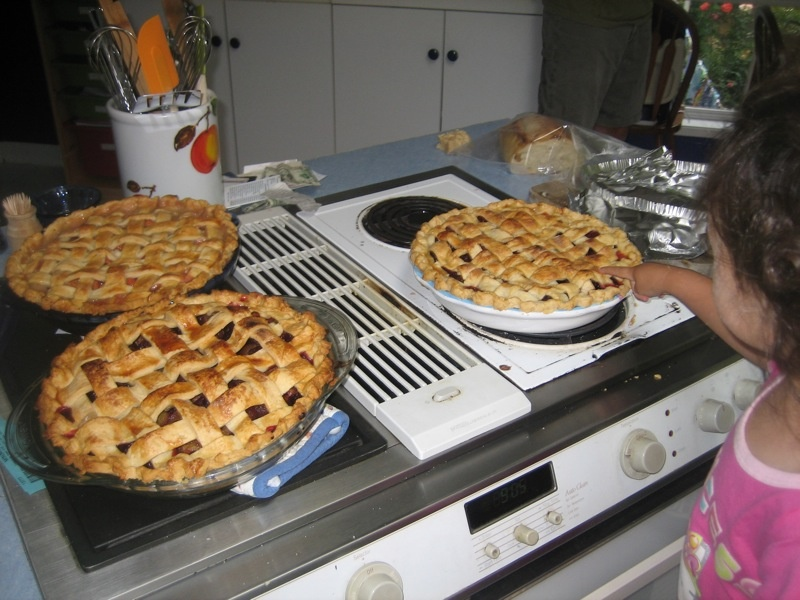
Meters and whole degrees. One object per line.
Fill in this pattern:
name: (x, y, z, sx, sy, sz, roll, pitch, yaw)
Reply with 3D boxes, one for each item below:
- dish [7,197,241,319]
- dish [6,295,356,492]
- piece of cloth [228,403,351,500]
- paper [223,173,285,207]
dish: (-0.496, -0.113, 1.047, 0.285, 0.038, 0.286, 14, 33, 27)
dish: (-0.246, 0.161, 0.787, 0.390, 0.071, 0.271, -23, 50, -27)
piece of cloth: (-0.153, 0.198, 0.804, 0.123, 0.035, 0.107, -32, 19, -25)
paper: (-0.368, -0.263, 1.418, 0.147, 0.028, 0.089, -15, 52, -16)
